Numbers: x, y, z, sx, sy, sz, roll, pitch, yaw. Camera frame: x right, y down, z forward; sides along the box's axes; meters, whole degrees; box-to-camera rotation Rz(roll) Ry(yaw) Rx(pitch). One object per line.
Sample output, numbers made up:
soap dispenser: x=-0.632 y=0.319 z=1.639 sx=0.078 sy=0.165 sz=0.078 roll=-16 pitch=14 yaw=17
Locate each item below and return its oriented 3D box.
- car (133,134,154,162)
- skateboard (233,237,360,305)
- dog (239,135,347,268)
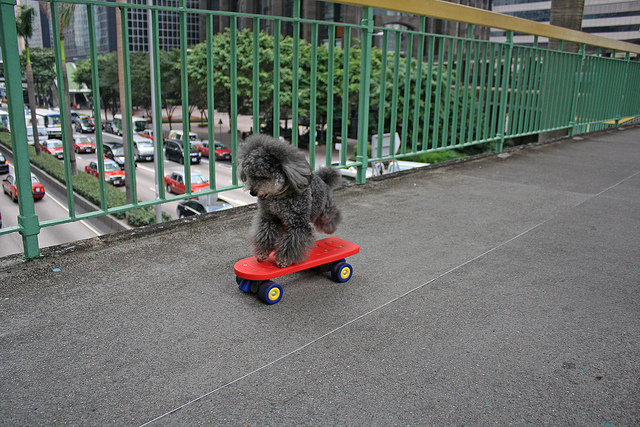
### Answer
car: x=-11.040 y=-4.131 z=28.463 sx=1.278 sy=1.187 sz=2.442 roll=-10 pitch=27 yaw=-36
skateboard: x=-0.186 y=0.482 z=3.920 sx=1.057 sy=0.315 sz=0.376 roll=-12 pitch=20 yaw=-28
dog: x=-0.185 y=-0.215 z=4.133 sx=0.688 sy=1.018 sz=1.444 roll=7 pitch=19 yaw=24
